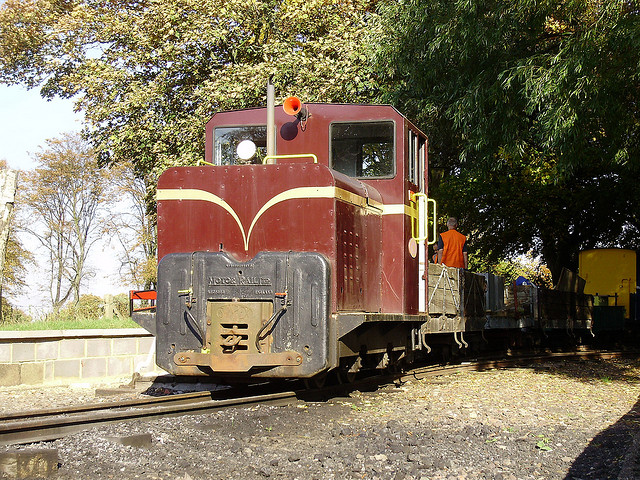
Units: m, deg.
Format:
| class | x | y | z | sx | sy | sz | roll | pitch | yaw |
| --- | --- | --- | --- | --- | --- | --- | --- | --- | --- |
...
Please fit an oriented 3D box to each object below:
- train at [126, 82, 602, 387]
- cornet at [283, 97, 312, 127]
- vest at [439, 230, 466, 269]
| class | x | y | z | sx | sy | sz | roll | pitch | yaw |
| --- | --- | --- | --- | --- | --- | --- | --- | --- | --- |
| train | 2.658 | 0.617 | 15.068 | 3.808 | 4.960 | 17.742 | -2 | -6 | 24 |
| cornet | -0.334 | -1.994 | 8.867 | 0.334 | 0.214 | 0.345 | -37 | -29 | 30 |
| vest | 2.990 | 0.201 | 12.627 | 0.576 | 0.864 | 0.452 | -3 | 3 | -3 |
